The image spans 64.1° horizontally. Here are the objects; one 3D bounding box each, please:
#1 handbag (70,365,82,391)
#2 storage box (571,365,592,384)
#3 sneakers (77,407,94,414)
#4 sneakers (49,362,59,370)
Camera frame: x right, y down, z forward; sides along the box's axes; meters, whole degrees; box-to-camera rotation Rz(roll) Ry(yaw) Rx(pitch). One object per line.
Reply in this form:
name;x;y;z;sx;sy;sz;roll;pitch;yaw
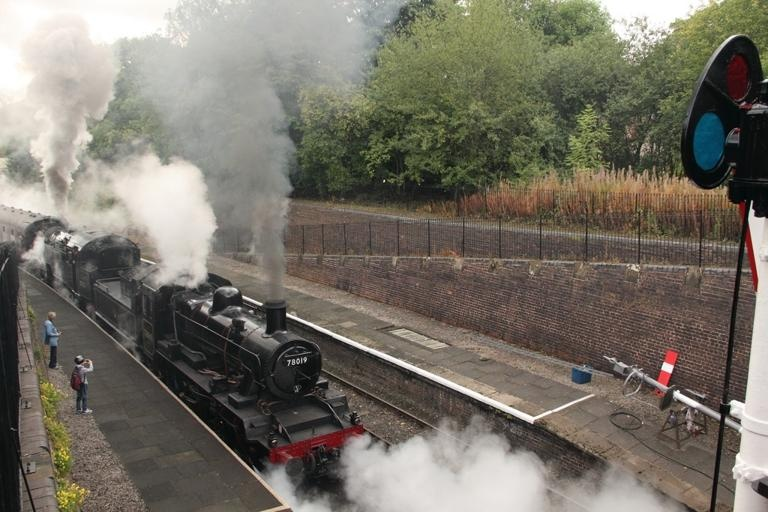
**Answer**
handbag;-8.110;3.239;16.238;0.259;0.586;0.357;-7;9;-24
storage box;6.085;3.615;18.873;0.518;0.519;0.535;-1;3;36
sneakers;-7.981;4.138;16.449;0.334;0.144;0.129;0;10;-37
sneakers;-9.920;3.295;18.482;0.302;0.210;0.124;1;10;-14
